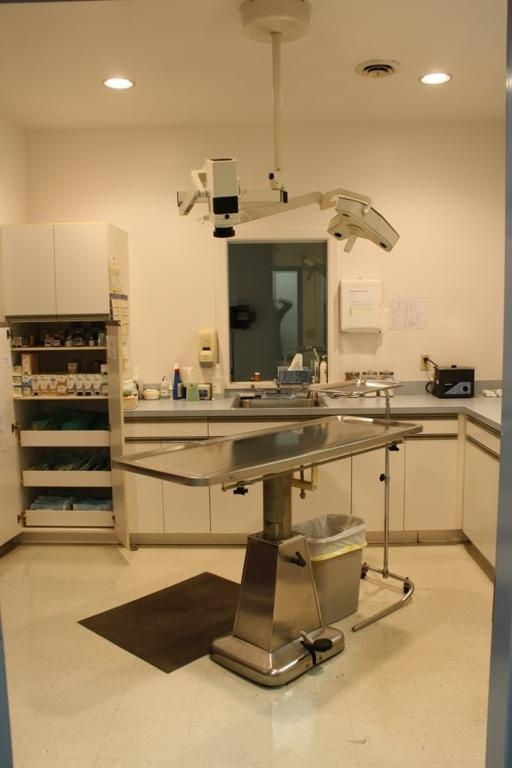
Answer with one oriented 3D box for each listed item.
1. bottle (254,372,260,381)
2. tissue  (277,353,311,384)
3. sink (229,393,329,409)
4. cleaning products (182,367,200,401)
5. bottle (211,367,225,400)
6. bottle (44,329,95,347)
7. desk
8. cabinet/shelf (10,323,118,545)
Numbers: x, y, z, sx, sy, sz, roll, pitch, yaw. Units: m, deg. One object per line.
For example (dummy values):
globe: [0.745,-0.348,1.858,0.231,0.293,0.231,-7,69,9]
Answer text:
bottle: [0.005,-0.043,3.474,0.034,0.055,0.028,0,5,13]
tissue : [0.218,-0.069,3.472,0.211,0.211,0.159,1,0,1]
sink: [0.121,0.085,3.323,0.474,0.077,0.232,-1,4,5]
cleaning products: [-0.370,-0.003,3.377,0.094,0.179,0.234,-2,4,-6]
bottle: [-0.216,-0.015,3.390,0.070,0.184,0.062,-2,4,-5]
bottle: [-1.015,-0.263,3.306,0.320,0.099,0.106,1,6,7]
desk: [0.129,0.539,2.069,1.071,0.721,0.407,-7,7,-43]
cabinet/shelf: [-0.954,0.247,3.198,0.691,1.208,0.565,-1,4,8]
